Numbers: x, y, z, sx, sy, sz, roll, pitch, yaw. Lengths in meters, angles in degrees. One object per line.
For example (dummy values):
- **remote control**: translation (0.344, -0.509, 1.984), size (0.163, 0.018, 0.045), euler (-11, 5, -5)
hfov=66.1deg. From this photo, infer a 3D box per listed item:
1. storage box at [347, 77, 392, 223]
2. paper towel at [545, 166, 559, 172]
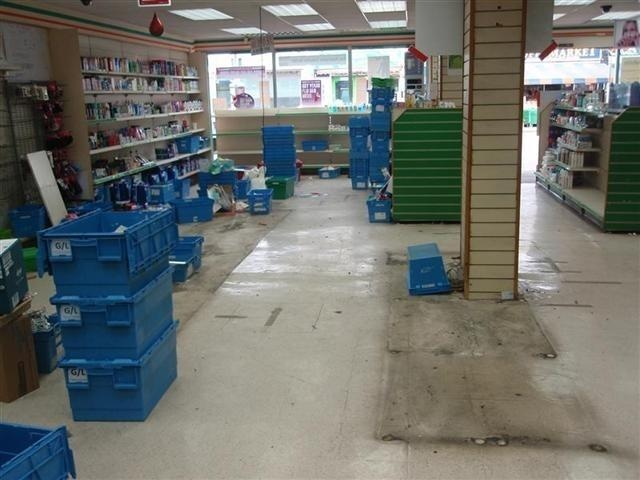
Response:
- **storage box**: translation (1.152, -2.269, 12.083), size (1.019, 3.582, 1.022), euler (3, 12, 9)
- **paper towel**: translation (5.437, -1.619, 11.617), size (0.286, 0.184, 0.154), euler (3, 15, 23)
